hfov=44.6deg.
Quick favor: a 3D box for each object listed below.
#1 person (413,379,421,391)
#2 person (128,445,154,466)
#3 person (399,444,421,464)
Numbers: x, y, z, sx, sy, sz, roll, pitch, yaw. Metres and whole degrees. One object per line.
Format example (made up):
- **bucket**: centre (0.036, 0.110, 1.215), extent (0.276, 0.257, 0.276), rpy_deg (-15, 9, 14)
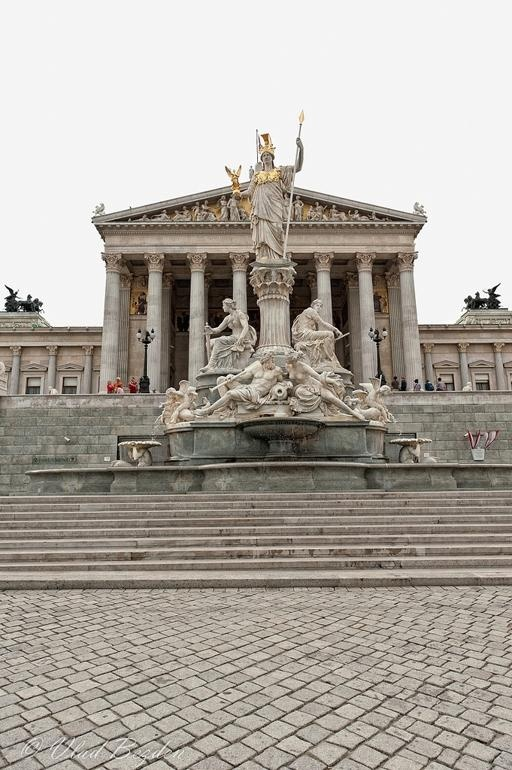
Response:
- **person**: centre (9.611, -0.035, 37.245), extent (0.414, 0.596, 1.346), rpy_deg (-1, -12, 9)
- **person**: centre (-3.129, 1.887, 16.786), extent (0.522, 0.512, 1.258), rpy_deg (1, -10, -11)
- **person**: centre (4.198, 1.861, 17.012), extent (0.514, 0.458, 0.712), rpy_deg (-3, -10, 11)
